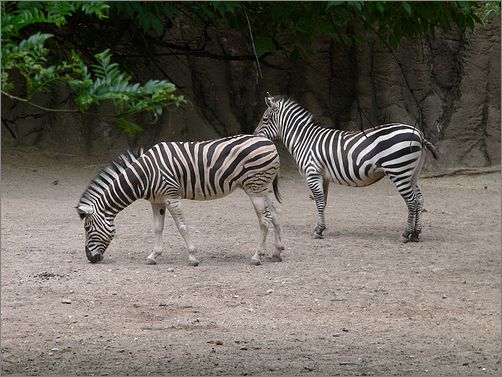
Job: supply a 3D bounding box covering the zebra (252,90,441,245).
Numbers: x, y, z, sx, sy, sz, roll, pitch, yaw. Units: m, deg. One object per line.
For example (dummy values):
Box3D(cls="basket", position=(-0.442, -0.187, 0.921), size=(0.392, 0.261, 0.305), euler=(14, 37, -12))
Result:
Box3D(cls="zebra", position=(1.157, -0.254, 9.378), size=(2.583, 1.645, 0.662), euler=(6, 8, 27))
